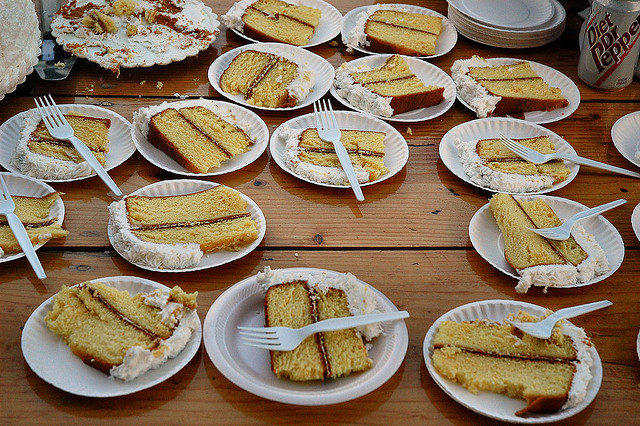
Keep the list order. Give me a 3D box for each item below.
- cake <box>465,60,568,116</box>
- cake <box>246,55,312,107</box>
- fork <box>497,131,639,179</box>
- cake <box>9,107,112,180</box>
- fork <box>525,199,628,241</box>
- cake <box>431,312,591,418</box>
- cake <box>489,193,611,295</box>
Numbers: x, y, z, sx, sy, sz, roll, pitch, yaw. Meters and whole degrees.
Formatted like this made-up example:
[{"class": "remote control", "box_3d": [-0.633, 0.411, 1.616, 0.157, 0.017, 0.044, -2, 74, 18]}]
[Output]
[{"class": "cake", "box_3d": [0.992, -0.650, 2.785, 0.335, 0.099, 0.350, -11, 45, -15]}, {"class": "cake", "box_3d": [-0.186, -0.637, 2.715, 0.242, 0.070, 0.264, 28, 65, 14]}, {"class": "fork", "box_3d": [1.120, -0.255, 2.482, 0.493, 0.059, 0.071, 19, 57, 5]}, {"class": "cake", "box_3d": [-1.103, -0.255, 2.335, 0.332, 0.095, 0.350, 7, 52, -8]}, {"class": "fork", "box_3d": [1.025, 0.036, 2.208, 0.350, 0.055, 0.073, -14, 44, -18]}, {"class": "cake", "box_3d": [0.662, 0.521, 1.859, 0.354, 0.079, 0.352, 11, 49, 13]}, {"class": "cake", "box_3d": [0.904, 0.096, 2.162, 0.376, 0.096, 0.434, -4, 57, -6]}]
